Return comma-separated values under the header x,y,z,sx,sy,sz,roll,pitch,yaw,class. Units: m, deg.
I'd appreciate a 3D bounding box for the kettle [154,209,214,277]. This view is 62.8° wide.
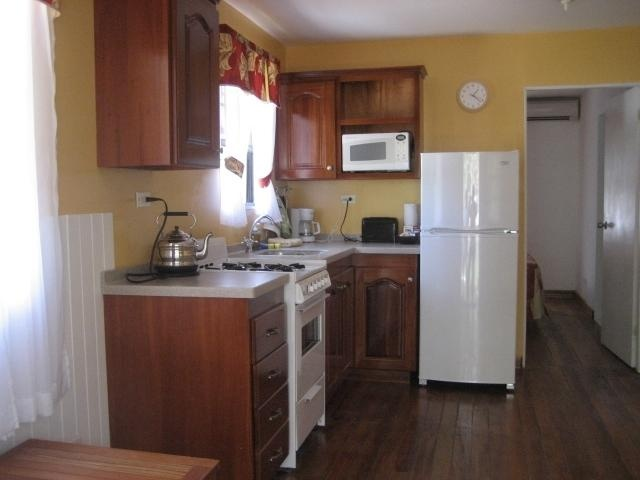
x,y,z,sx,sy,sz,roll,pitch,yaw,class
-0.825,0.035,3.178,0.257,0.439,0.398,-3,-4,45,kettle

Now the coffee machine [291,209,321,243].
x,y,z,sx,sy,sz,roll,pitch,yaw,class
-0.122,-0.150,4.941,0.301,0.375,0.221,-1,3,13,coffee machine

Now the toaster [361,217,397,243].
x,y,z,sx,sy,sz,roll,pitch,yaw,class
0.524,-0.087,4.769,0.313,0.267,0.205,2,7,11,toaster

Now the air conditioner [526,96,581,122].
x,y,z,sx,sy,sz,roll,pitch,yaw,class
3.214,-1.824,7.245,0.705,0.326,0.092,0,6,1,air conditioner

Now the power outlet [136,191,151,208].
x,y,z,sx,sy,sz,roll,pitch,yaw,class
-1.036,-0.233,3.054,0.028,0.088,0.107,1,7,13,power outlet

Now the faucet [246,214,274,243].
x,y,z,sx,sy,sz,roll,pitch,yaw,class
-0.504,-0.096,4.501,0.191,0.241,0.224,4,8,16,faucet
